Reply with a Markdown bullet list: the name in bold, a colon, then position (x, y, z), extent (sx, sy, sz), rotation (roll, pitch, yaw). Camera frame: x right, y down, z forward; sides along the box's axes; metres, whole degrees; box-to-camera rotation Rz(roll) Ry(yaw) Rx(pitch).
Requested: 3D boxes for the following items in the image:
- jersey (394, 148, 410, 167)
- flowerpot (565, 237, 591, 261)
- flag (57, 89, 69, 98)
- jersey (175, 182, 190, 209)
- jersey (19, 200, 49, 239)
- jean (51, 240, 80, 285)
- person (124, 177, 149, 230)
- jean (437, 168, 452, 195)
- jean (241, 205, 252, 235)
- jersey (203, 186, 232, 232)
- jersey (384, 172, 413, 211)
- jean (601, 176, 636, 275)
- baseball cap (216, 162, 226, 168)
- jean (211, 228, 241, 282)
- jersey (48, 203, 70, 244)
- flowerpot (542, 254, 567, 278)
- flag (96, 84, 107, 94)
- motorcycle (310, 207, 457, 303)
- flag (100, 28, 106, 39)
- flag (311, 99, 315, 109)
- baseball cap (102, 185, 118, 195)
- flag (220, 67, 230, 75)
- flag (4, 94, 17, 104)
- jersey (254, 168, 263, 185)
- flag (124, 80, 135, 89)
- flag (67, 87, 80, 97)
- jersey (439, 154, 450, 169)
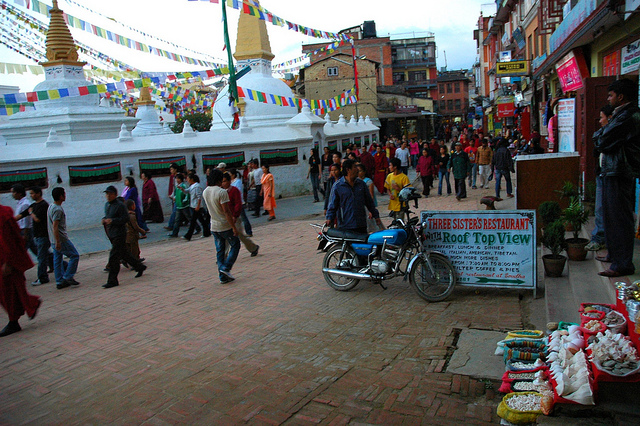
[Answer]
- **jersey**: position (3.888, -2.691, 20.906), extent (0.519, 0.883, 1.146), rotation (-2, 9, 24)
- **flowerpot**: position (4.457, 0.653, 7.567), extent (0.354, 0.247, 0.352), rotation (-1, 8, 18)
- **flag**: position (-8.608, -4.061, 14.565), extent (0.239, 0.227, 0.366), rotation (-6, 8, -2)
- **jersey**: position (-4.422, -0.549, 13.848), extent (0.427, 0.850, 0.394), rotation (-9, 9, -21)
- **jersey**: position (-6.728, 0.168, 10.256), extent (0.848, 0.917, 0.638), rotation (2, 5, 22)
- **jean**: position (-5.882, 1.139, 9.968), extent (0.520, 1.022, 0.511), rotation (-1, 10, 31)
- **person**: position (-6.216, -0.227, 14.115), extent (0.659, 1.890, 0.693), rotation (14, 22, 31)
- **jean**: position (5.076, -1.356, 17.936), extent (0.565, 1.047, 1.768), rotation (-3, 8, 15)
- **jean**: position (-2.262, 0.272, 13.196), extent (0.254, 0.788, 0.632), rotation (-7, 8, -11)
- **jersey**: position (-2.187, -0.085, 9.233), extent (0.665, 0.979, 0.269), rotation (-1, 9, 27)
- **jersey**: position (1.817, -0.525, 10.390), extent (0.525, 0.897, 0.779), rotation (-4, 8, 12)
- **jean**: position (4.309, 0.172, 6.288), extent (0.367, 1.400, 0.497), rotation (0, 10, 34)
- **baseball cap**: position (-3.629, -1.756, 16.061), extent (0.251, 0.119, 0.345), rotation (0, 3, 8)
- **jean**: position (-1.977, 0.854, 9.305), extent (0.516, 1.046, 0.531), rotation (-8, 9, -15)
- **jersey**: position (-5.931, 0.240, 9.757), extent (0.369, 0.918, 0.530), rotation (-11, 10, -32)
- **flowerpot**: position (3.957, 0.899, 7.359), extent (0.385, 0.279, 0.375), rotation (0, 1, 5)
- **flag**: position (-7.818, -4.517, 15.633), extent (0.377, 0.338, 0.091), rotation (-2, 9, 5)
- **motorcycle**: position (1.213, 0.714, 8.332), extent (2.706, 1.599, 1.232), rotation (3, 13, 22)
- **flag**: position (-8.188, -6.814, 16.342), extent (0.122, 0.267, 0.226), rotation (-9, 9, -23)
- **flag**: position (-0.412, -5.513, 22.057), extent (0.159, 0.369, 0.427), rotation (-6, 8, -2)
- **baseball cap**: position (-4.809, -0.511, 9.997), extent (0.160, 0.195, 0.334), rotation (-7, 8, -12)
- **flag**: position (-4.590, -6.850, 20.770), extent (0.367, 0.327, 0.655), rotation (-6, 8, -6)
- **flag**: position (-9.754, -3.608, 13.646), extent (0.324, 0.308, 0.015), rotation (-9, -12, -24)
- **jersey**: position (-2.366, -1.361, 16.430), extent (0.322, 0.682, 0.648), rotation (-5, 10, -24)
- **flag**: position (-6.754, -4.563, 15.373), extent (0.280, 0.247, 0.070), rotation (-1, -1, -25)
- **flag**: position (-8.480, -4.215, 14.909), extent (0.263, 0.317, 0.563), rotation (-7, 8, -8)
- **jersey**: position (5.013, -2.097, 17.692), extent (0.388, 0.574, 0.615), rotation (-3, 8, 15)
